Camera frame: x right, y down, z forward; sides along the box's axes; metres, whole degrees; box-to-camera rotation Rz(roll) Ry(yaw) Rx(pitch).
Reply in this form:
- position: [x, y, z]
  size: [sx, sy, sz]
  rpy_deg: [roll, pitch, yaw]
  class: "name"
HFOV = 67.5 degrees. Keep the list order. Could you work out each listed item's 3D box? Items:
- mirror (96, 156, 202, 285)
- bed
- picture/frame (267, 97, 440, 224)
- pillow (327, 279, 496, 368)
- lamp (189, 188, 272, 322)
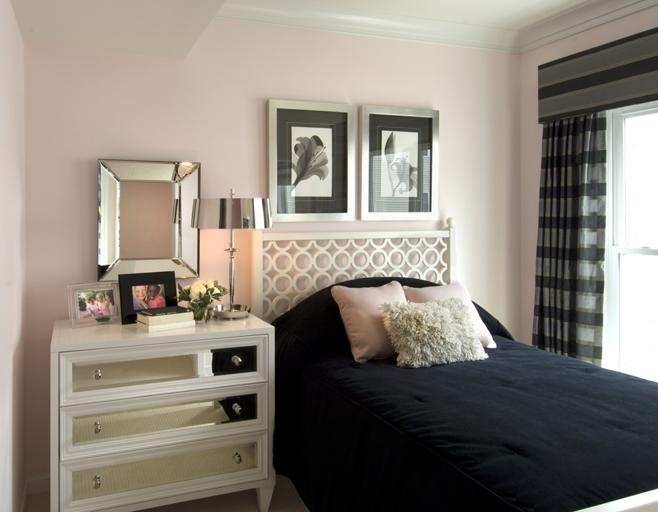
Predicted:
- position: [-1.130, -0.228, 3.021]
  size: [0.788, 1.027, 0.068]
  rpy_deg: [0, 1, -25]
  class: "mirror"
- position: [0.627, 0.553, 2.656]
  size: [1.584, 1.481, 1.777]
  rpy_deg: [-2, 3, -30]
  class: "bed"
- position: [0.125, -0.690, 3.520]
  size: [0.968, 0.582, 0.063]
  rpy_deg: [0, -1, -22]
  class: "picture/frame"
- position: [0.419, 0.347, 3.077]
  size: [0.813, 0.347, 0.430]
  rpy_deg: [-10, 14, -27]
  class: "pillow"
- position: [-0.610, -0.010, 3.050]
  size: [0.401, 0.759, 0.461]
  rpy_deg: [-12, 15, -36]
  class: "lamp"
